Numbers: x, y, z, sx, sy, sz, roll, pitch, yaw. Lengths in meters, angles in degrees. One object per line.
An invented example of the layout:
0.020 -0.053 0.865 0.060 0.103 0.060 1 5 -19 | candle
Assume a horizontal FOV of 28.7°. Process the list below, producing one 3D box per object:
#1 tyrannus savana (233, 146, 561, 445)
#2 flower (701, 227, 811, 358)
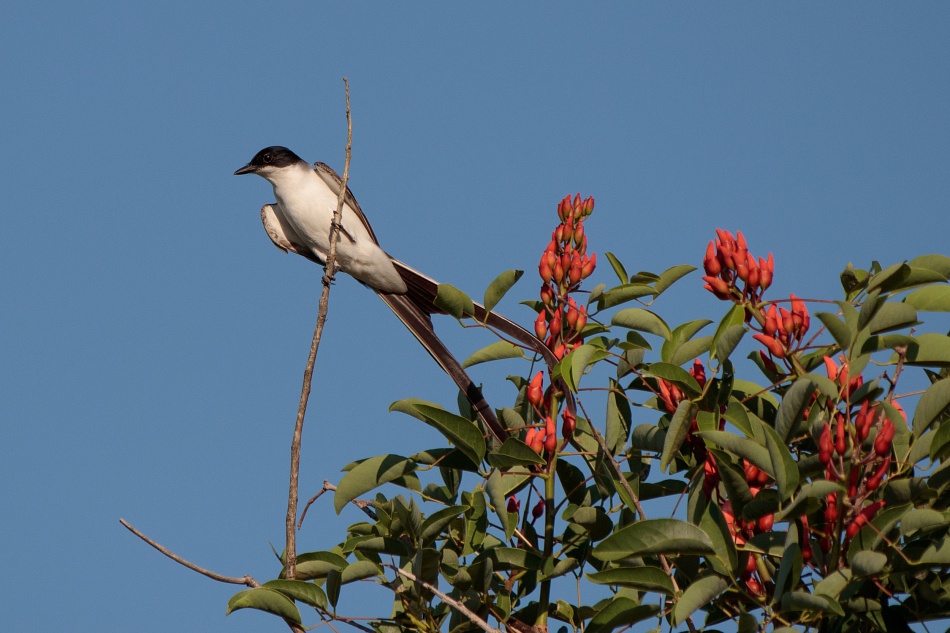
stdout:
-0.628 -0.466 11.278 2.101 1.271 0.629 27 -66 11 | tyrannus savana
1.097 -0.057 7.345 0.139 0.518 0.229 -33 -23 -5 | flower
